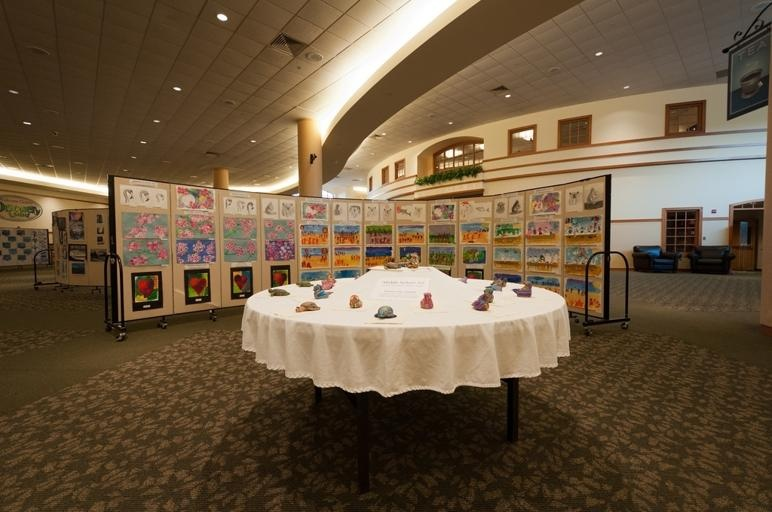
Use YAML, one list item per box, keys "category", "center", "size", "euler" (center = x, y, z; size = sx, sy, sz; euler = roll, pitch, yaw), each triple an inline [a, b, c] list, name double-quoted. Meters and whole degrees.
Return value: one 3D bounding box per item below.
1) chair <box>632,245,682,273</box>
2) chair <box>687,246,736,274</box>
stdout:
- category: "chair"
  center: [8.628, 0.094, 14.754]
  size: [1.259, 0.823, 0.669]
  euler: [0, 3, 29]
- category: "chair"
  center: [10.156, 0.103, 14.367]
  size: [1.430, 1.023, 0.848]
  euler: [0, -1, 43]
